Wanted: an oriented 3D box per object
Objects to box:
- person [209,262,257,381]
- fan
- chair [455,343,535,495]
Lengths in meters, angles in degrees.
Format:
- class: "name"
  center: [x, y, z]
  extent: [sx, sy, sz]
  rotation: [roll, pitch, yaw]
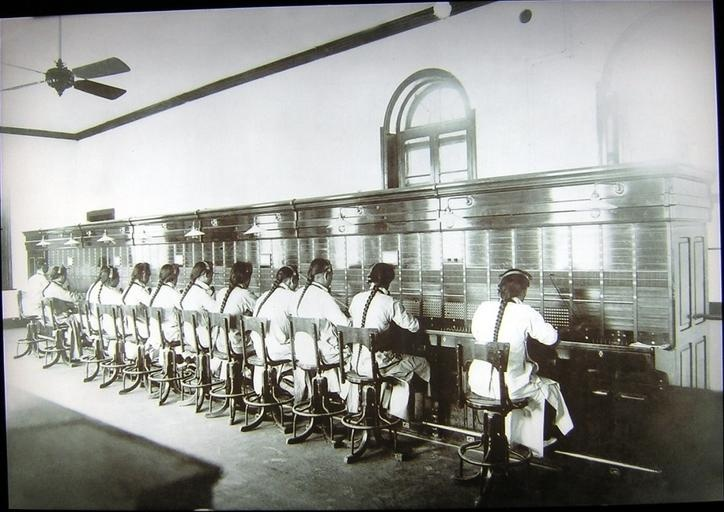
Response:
- class: "person"
  center: [-1.583, 0.804, 7.955]
  extent: [0.619, 1.627, 0.667]
  rotation: [29, 38, 32]
- class: "fan"
  center: [-3.461, -2.413, 7.226]
  extent: [1.628, 0.675, 0.719]
  rotation: [-1, 3, 34]
- class: "chair"
  center: [1.327, 1.651, 6.206]
  extent: [0.753, 1.623, 0.660]
  rotation: [-1, 3, 34]
